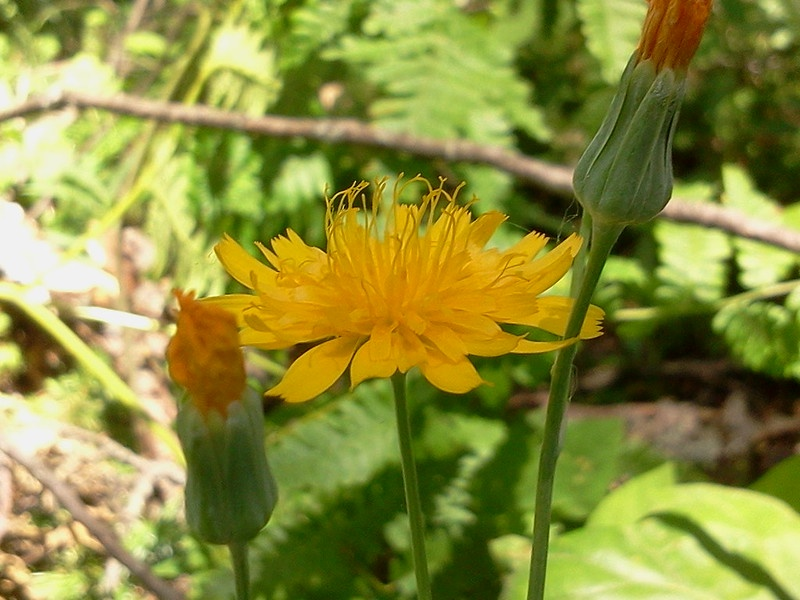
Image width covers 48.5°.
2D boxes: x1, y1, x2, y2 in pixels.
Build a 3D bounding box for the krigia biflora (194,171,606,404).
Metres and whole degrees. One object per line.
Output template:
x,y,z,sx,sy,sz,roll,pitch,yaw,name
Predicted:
-0.003,-0.027,1.092,0.448,0.147,0.296,4,47,2,krigia biflora
